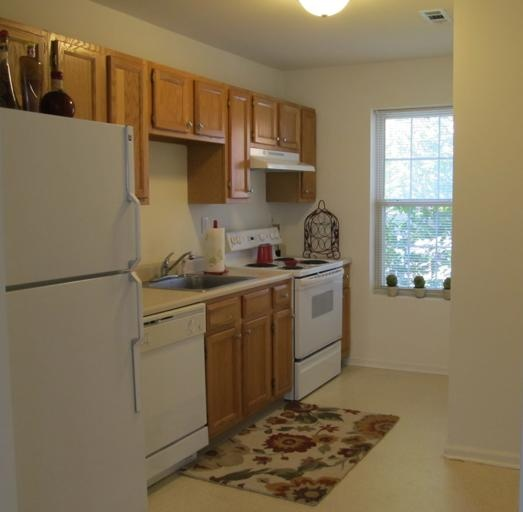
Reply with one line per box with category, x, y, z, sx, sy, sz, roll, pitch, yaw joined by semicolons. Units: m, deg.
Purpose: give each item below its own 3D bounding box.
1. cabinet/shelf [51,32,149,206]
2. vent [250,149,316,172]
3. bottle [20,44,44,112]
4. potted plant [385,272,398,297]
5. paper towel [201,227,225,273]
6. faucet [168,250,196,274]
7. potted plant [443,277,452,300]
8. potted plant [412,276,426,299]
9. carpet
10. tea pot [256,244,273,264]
cabinet/shelf;-0.753;-0.777;2.376;0.501;0.491;0.176;12;36;-3
vent;0.161;-0.749;3.799;0.140;0.179;0.799;2;5;32
bottle;-0.768;-0.583;1.622;0.055;0.249;0.054;-2;3;0
potted plant;1.130;0.258;4.327;0.145;0.275;0.154;0;1;3
paper towel;-0.312;-0.036;3.302;0.124;0.306;0.127;9;10;36
faucet;-0.544;0.041;3.220;0.166;0.129;0.244;-2;4;-12
potted plant;1.537;0.276;4.041;0.045;0.179;0.096;0;4;10
potted plant;1.350;0.266;4.136;0.100;0.185;0.091;0;4;15
carpet;0.212;1.097;2.830;0.817;0.016;1.244;2;5;33
tea pot;0.025;-0.023;3.981;0.136;0.197;0.133;0;9;0
